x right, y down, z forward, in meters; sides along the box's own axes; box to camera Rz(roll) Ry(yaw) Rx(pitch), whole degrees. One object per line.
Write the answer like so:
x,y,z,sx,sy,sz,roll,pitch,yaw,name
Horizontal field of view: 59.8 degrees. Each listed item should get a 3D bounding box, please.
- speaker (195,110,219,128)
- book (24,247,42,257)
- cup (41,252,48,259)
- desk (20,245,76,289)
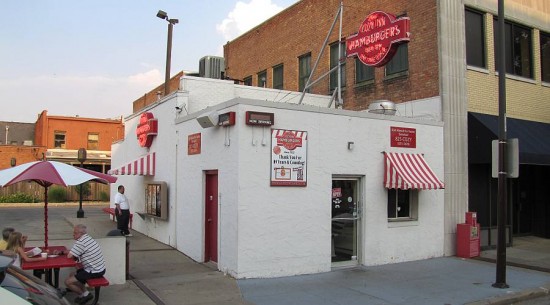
-3.029,-1.522,21.745,0.883,0.563,0.430,-16,27,40,speaker
-9.234,3.813,18.388,0.412,0.104,0.447,17,14,40,book
-8.778,3.930,18.243,0.242,0.147,0.208,0,-4,-7,cup
-8.955,4.453,18.823,2.001,1.612,1.841,1,-5,-12,desk
